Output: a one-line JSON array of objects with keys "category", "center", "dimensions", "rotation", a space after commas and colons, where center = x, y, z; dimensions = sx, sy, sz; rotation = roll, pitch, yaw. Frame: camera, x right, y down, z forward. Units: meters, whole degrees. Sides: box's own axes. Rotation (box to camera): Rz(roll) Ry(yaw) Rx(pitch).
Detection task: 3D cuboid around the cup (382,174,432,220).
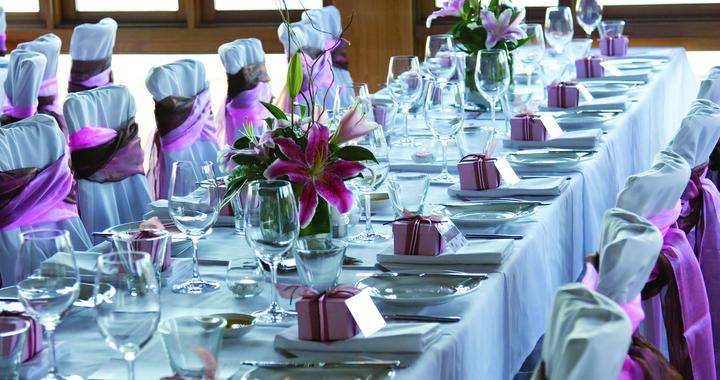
[{"category": "cup", "center": [0.183, 0.029, 2.696], "dimensions": [0.169, 0.134, 0.157], "rotation": [-1, 6, 0]}]
